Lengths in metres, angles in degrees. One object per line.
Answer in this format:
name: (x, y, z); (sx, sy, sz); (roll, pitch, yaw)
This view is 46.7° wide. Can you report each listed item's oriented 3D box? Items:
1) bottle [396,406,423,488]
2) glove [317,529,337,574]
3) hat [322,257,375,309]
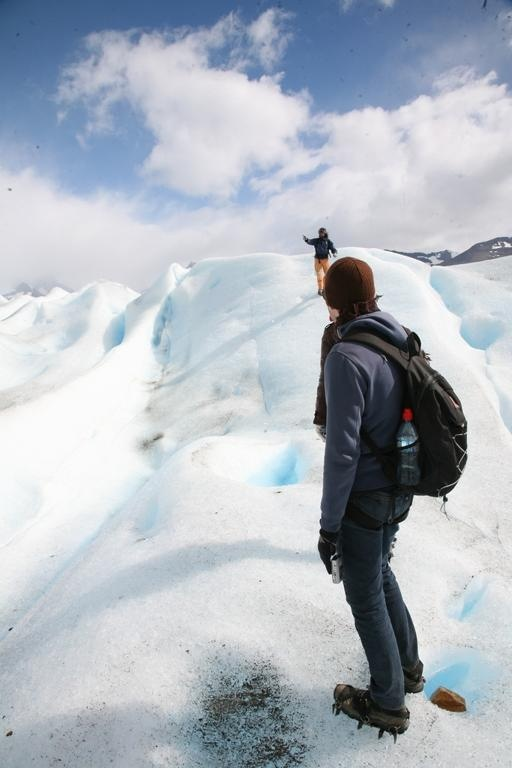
bottle: (0.778, 0.342, 3.026); (0.116, 0.406, 0.143); (1, 15, 13)
glove: (0.374, 0.863, 3.072); (0.066, 0.201, 0.153); (5, 2, 14)
hat: (0.501, -0.516, 3.165); (0.229, 0.304, 0.306); (-5, 34, 2)
